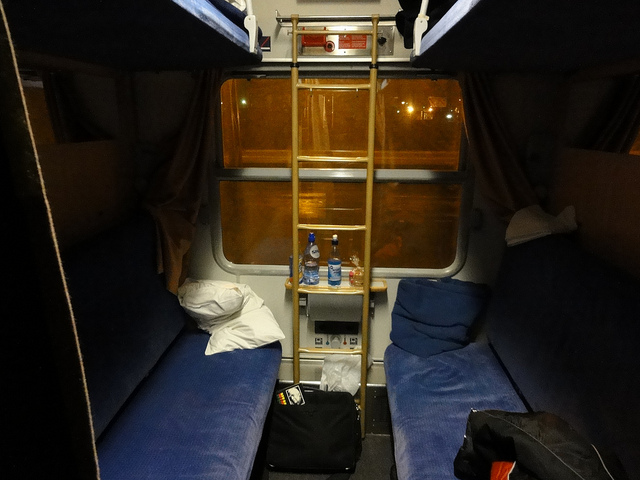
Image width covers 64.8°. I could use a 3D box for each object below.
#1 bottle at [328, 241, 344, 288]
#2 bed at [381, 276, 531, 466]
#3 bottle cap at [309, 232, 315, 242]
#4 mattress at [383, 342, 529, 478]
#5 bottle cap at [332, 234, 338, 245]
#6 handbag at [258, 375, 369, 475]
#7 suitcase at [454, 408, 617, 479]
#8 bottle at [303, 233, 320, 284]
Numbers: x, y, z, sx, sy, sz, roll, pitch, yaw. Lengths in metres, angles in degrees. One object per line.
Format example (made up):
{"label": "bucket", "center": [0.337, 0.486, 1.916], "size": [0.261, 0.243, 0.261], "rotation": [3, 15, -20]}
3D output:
{"label": "bottle", "center": [0.099, 0.131, 3.331], "size": [0.108, 0.299, 0.254], "rotation": [0, 18, 2]}
{"label": "bed", "center": [0.720, 0.763, 2.864], "size": [0.732, 0.603, 1.366], "rotation": [-7, 15, 12]}
{"label": "bottle cap", "center": [-0.059, -0.022, 3.259], "size": [0.045, 0.079, 0.041], "rotation": [0, 1, -3]}
{"label": "mattress", "center": [0.735, 0.901, 2.812], "size": [0.695, 0.197, 1.218], "rotation": [1, 19, 3]}
{"label": "bottle cap", "center": [0.089, 0.001, 3.258], "size": [0.049, 0.089, 0.047], "rotation": [0, 2, -5]}
{"label": "handbag", "center": [-0.045, 1.186, 3.277], "size": [0.455, 0.263, 0.659], "rotation": [0, 42, 0]}
{"label": "suitcase", "center": [0.843, 0.790, 1.949], "size": [0.282, 0.103, 0.310], "rotation": [0, 10, -2]}
{"label": "bottle", "center": [-0.063, 0.098, 3.321], "size": [0.110, 0.323, 0.247], "rotation": [-1, 18, -1]}
